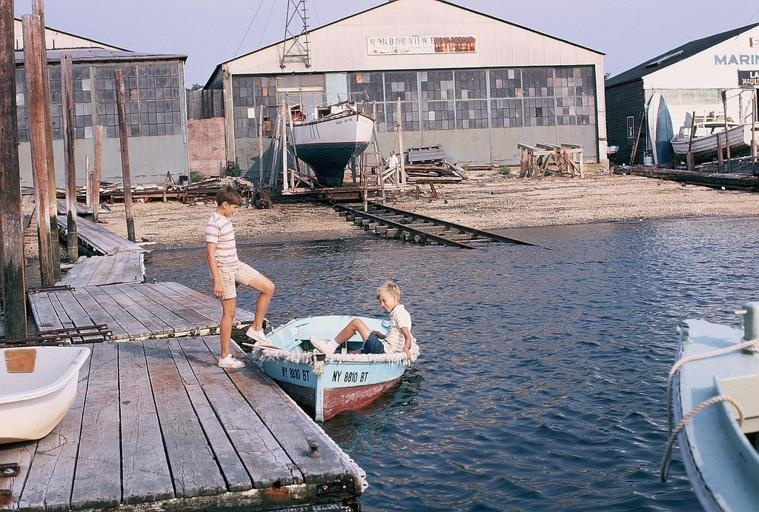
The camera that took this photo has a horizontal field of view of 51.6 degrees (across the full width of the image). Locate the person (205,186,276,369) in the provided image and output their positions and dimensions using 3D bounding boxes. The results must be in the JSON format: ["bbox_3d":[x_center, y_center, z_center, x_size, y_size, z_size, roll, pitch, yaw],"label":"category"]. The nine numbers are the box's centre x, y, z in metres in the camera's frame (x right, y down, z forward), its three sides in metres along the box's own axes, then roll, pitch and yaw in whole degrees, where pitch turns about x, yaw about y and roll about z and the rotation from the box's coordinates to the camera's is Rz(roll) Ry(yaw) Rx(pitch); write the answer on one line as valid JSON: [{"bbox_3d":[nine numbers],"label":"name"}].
[{"bbox_3d":[-1.751,0.302,9.933,0.820,2.189,0.969,-1,-11,1],"label":"person"}]

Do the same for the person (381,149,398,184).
[{"bbox_3d":[0.492,-4.009,35.373,0.940,1.440,0.780,-6,18,-23],"label":"person"}]

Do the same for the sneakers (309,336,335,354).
[{"bbox_3d":[-0.715,1.152,10.013,0.282,0.224,0.585,-1,-11,-1],"label":"sneakers"}]

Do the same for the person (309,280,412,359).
[{"bbox_3d":[-0.231,0.892,10.728,1.426,1.094,0.774,1,-7,-3],"label":"person"}]

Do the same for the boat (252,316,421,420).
[{"bbox_3d":[-0.631,1.454,10.587,2.018,1.481,1.921,-2,-11,3],"label":"boat"}]

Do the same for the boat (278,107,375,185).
[{"bbox_3d":[-2.435,-5.336,37.934,3.200,3.879,9.176,-4,9,-19],"label":"boat"}]

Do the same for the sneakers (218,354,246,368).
[{"bbox_3d":[-1.872,1.330,9.974,0.337,0.157,0.148,1,5,-4],"label":"sneakers"}]
